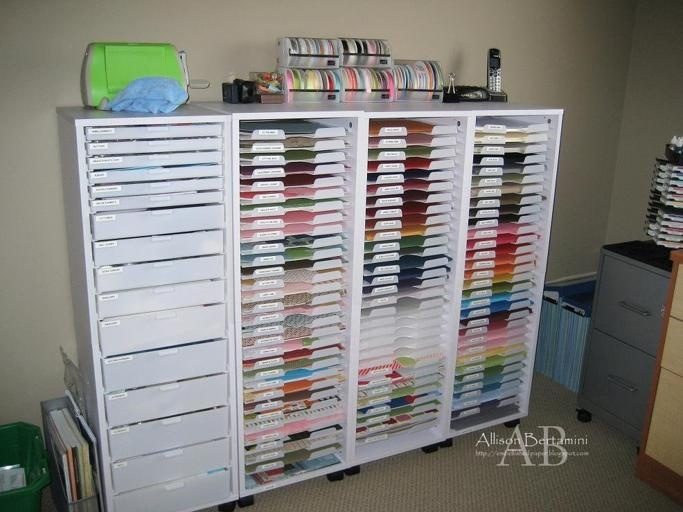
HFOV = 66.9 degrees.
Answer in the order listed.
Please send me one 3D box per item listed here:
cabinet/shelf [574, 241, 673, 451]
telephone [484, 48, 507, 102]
[{"bbox_3d":[1.483,0.441,2.688,0.336,0.968,0.373,-14,20,-31],"label":"cabinet/shelf"},{"bbox_3d":[0.841,-0.984,2.830,0.098,0.273,0.446,1,17,16],"label":"telephone"}]
